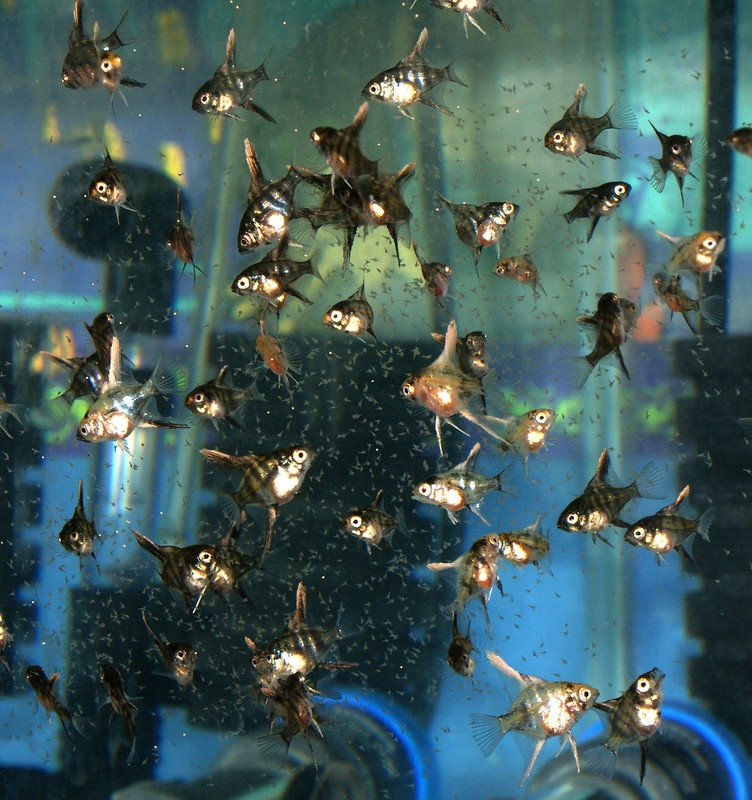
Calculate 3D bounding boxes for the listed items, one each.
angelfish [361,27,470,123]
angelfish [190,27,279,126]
[{"bbox_3d":[0.194,-1.605,5.766,0.270,0.341,0.476,41,64,19],"label":"angelfish"},{"bbox_3d":[-0.714,-1.651,5.906,0.226,0.564,0.476,-8,90,-47],"label":"angelfish"}]
